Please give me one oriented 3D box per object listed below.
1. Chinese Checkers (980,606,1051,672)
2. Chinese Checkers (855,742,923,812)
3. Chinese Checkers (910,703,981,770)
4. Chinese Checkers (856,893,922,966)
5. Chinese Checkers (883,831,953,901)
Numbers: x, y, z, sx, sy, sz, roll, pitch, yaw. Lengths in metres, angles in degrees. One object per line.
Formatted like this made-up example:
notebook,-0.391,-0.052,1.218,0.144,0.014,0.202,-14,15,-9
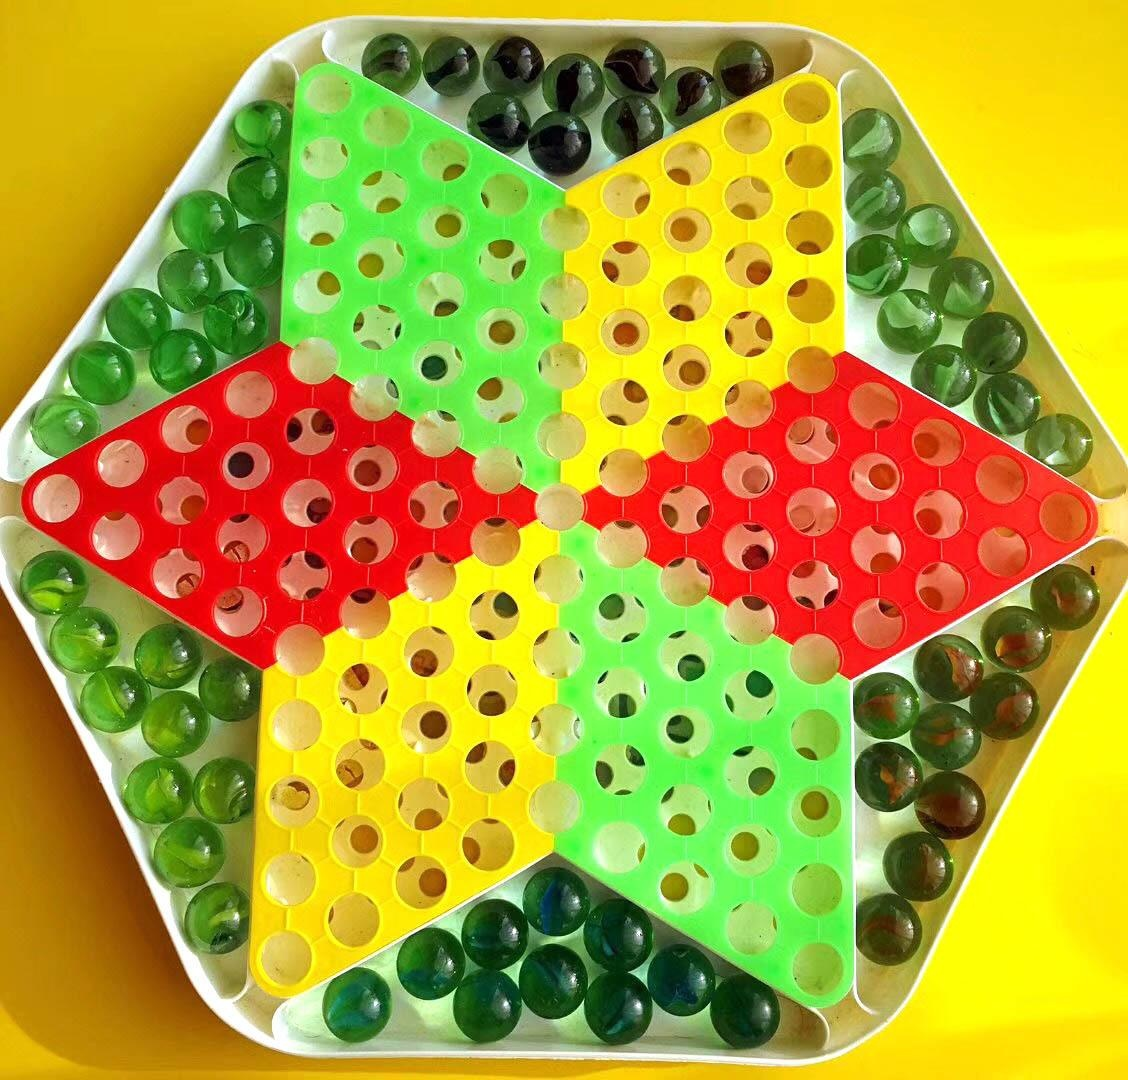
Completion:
Chinese Checkers,0.425,0.095,1.324,0.060,0.022,0.060,-2,78,12
Chinese Checkers,0.302,0.213,1.303,0.061,0.020,0.062,1,99,9
Chinese Checkers,0.357,0.186,1.310,0.061,0.031,0.060,-1,92,6
Chinese Checkers,0.298,0.361,1.293,0.063,0.033,0.063,-1,89,3
Chinese Checkers,0.330,0.305,1.301,0.065,0.014,0.066,-15,57,3
